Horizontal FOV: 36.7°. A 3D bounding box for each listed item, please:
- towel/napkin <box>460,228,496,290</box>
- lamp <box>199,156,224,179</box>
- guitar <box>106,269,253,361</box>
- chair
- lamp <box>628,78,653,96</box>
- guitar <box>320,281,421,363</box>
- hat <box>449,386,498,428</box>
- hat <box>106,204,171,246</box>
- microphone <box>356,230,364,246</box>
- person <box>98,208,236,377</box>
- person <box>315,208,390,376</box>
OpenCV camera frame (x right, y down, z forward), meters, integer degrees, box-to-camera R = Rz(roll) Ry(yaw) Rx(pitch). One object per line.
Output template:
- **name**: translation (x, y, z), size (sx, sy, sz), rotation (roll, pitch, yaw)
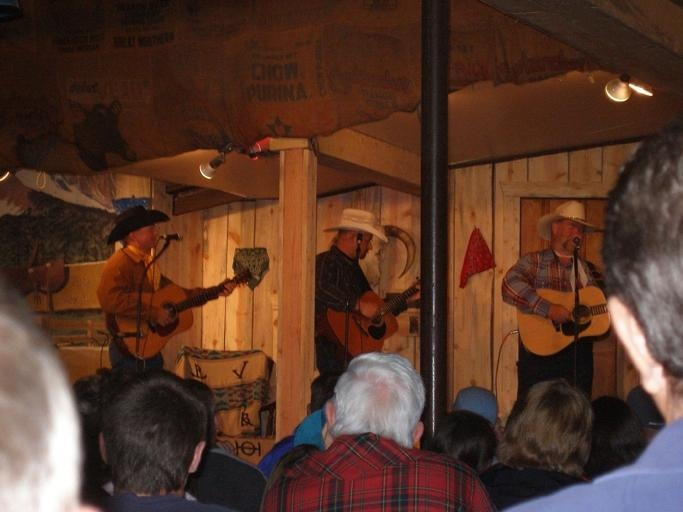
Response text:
- **towel/napkin**: translation (1.292, 0.046, 9.527), size (0.315, 0.549, 0.261), rotation (3, -30, -1)
- **lamp**: translation (-1.140, -0.767, 8.945), size (0.086, 0.099, 0.096), rotation (37, -48, -28)
- **guitar**: translation (-1.532, 0.541, 9.354), size (1.169, 0.529, 0.165), rotation (-32, 12, -39)
- **chair**: translation (-1.068, 1.344, 9.736), size (1.098, 1.196, 0.894), rotation (-1, -1, 23)
- **lamp**: translation (2.196, -1.244, 7.476), size (0.127, 0.033, 0.134), rotation (23, -6, 19)
- **guitar**: translation (0.272, 0.607, 9.264), size (0.970, 0.759, 0.384), rotation (9, -12, -41)
- **hat**: translation (0.862, 1.009, 6.619), size (0.276, 0.293, 0.230), rotation (-10, -20, -9)
- **hat**: translation (-1.896, -0.319, 9.260), size (0.557, 0.190, 0.603), rotation (-21, -7, -11)
- **microphone**: translation (0.169, -0.152, 9.337), size (0.072, 0.144, 0.035), rotation (1, 2, -3)
- **person**: translation (-1.811, 0.284, 9.311), size (0.844, 1.578, 0.998), rotation (-4, -10, 30)
- **person**: translation (0.110, 0.361, 8.988), size (0.518, 1.740, 0.724), rotation (-4, -31, 17)
